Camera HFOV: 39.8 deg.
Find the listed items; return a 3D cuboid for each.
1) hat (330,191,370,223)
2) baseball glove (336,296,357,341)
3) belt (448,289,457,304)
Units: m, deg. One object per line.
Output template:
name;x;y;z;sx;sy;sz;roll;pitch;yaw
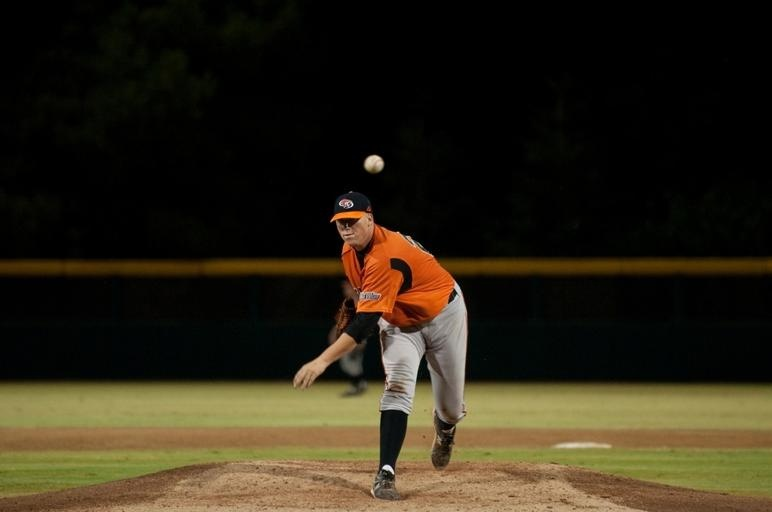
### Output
hat;-0.322;-0.548;11.482;0.257;0.240;0.387;-3;4;33
baseball glove;-0.405;0.660;11.709;0.179;0.571;0.213;11;-7;-25
belt;0.721;0.431;11.708;0.091;0.132;0.050;8;-47;16
